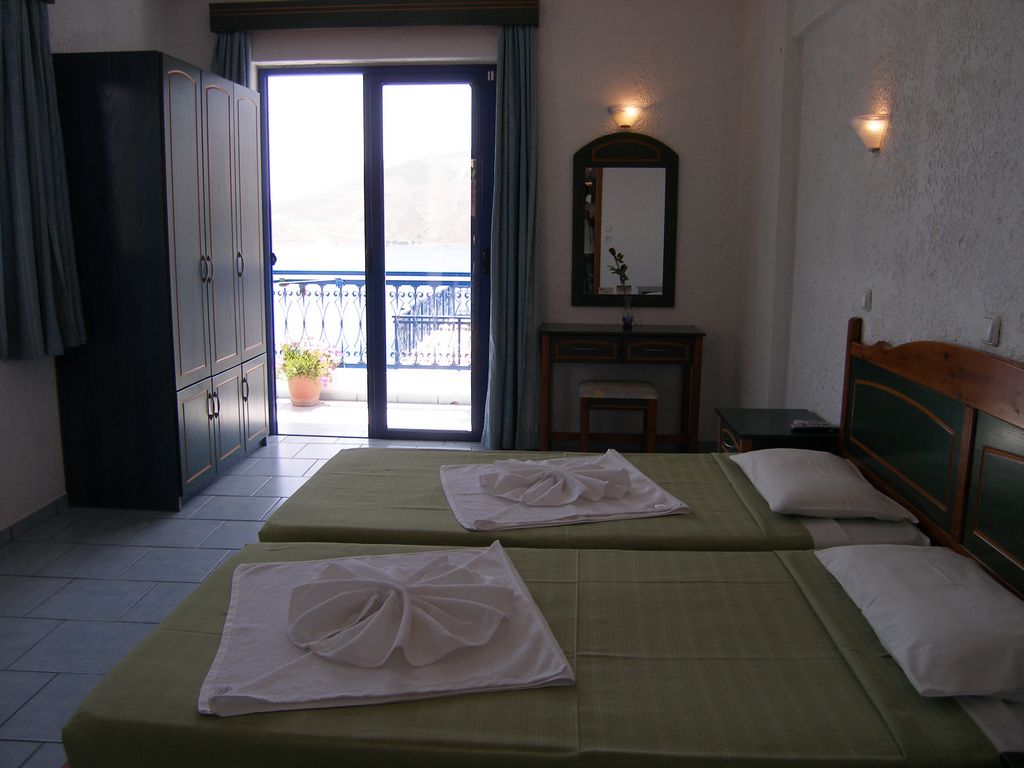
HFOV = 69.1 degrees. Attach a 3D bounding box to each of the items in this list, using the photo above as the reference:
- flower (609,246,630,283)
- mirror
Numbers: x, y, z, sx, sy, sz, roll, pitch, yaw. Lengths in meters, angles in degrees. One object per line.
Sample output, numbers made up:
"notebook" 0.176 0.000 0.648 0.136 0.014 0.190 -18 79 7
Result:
"flower" 0.747 -0.825 5.194 0.113 0.245 0.125 -12 8 -32
"mirror" 0.775 -1.126 5.131 0.697 1.156 0.140 -2 14 -2
